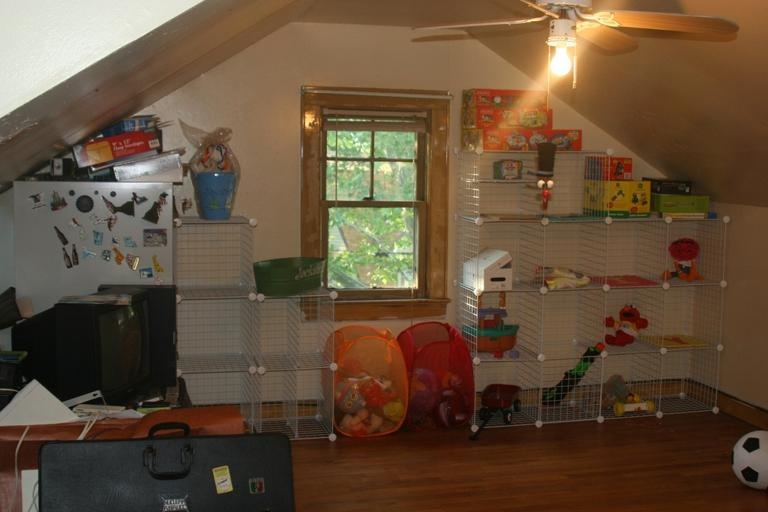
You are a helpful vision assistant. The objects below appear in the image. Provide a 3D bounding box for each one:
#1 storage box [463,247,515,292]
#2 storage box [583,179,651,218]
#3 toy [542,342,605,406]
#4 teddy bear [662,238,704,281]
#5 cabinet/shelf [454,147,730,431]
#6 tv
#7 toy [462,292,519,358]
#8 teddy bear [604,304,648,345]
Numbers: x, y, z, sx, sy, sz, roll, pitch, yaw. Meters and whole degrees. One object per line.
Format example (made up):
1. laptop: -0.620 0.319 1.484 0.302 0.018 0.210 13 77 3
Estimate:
1. storage box: 0.818 0.107 4.963 0.315 0.301 0.438 -2 5 -10
2. storage box: 1.861 -0.425 5.079 0.358 0.212 0.347 0 2 -8
3. toy: 1.564 0.939 5.265 0.457 0.632 0.438 4 13 15
4. teddy bear: 2.464 0.020 5.262 0.387 0.477 0.365 0 2 12
5. cabinet/shelf: 1.663 0.225 5.207 2.352 2.204 0.752 0 1 -14
6. tv: -1.660 0.437 3.602 0.637 0.611 0.602 2 8 3
7. toy: 0.766 0.567 5.218 0.587 0.558 0.384 0 -2 -6
8. teddy bear: 2.006 0.580 5.281 0.180 0.302 0.306 27 -12 -32
